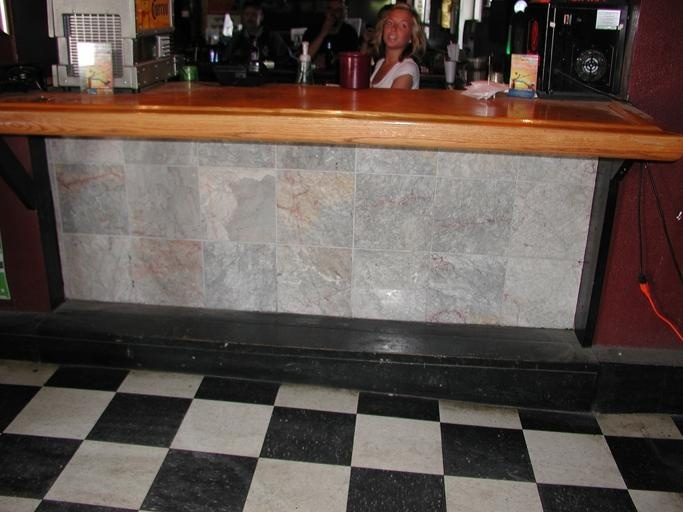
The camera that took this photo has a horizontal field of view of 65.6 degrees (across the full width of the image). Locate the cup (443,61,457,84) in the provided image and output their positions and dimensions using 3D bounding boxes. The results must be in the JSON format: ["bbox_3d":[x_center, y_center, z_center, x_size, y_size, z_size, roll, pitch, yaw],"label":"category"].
[{"bbox_3d":[0.883,-1.477,4.282,0.086,0.175,0.297,6,22,12],"label":"cup"}]

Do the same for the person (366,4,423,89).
[{"bbox_3d":[0.384,-1.372,3.485,0.348,0.514,0.893,3,21,4],"label":"person"}]
